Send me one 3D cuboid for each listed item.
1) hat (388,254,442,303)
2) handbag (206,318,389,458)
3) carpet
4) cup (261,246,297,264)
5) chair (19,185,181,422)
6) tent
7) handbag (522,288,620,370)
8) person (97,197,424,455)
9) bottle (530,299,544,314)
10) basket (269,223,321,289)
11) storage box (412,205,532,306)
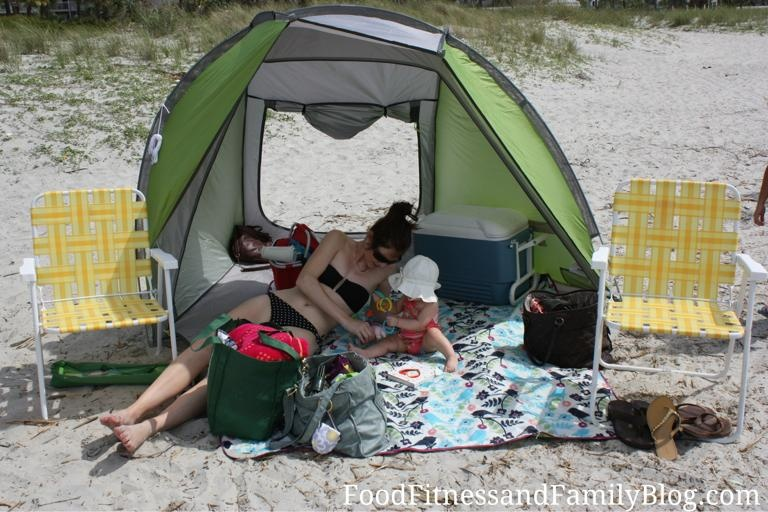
[{"bbox_3d":[0.347,0.163,5.623,0.501,0.248,0.494,-7,22,-37],"label":"hat"},{"bbox_3d":[-0.598,0.918,4.887,1.242,0.537,0.849,8,12,10],"label":"handbag"},{"bbox_3d":[0.708,1.062,5.438,1.577,0.113,1.416,-1,19,4],"label":"carpet"},{"bbox_3d":[-0.976,-0.012,6.130,0.276,0.148,0.124,1,-16,-6],"label":"cup"},{"bbox_3d":[-2.324,0.273,5.436,1.162,1.478,1.060,-7,24,-17],"label":"chair"},{"bbox_3d":[-0.512,-1.190,7.748,5.244,3.259,4.129,0,23,-4],"label":"tent"},{"bbox_3d":[1.545,0.478,5.635,0.976,0.604,0.619,-1,4,-6],"label":"handbag"},{"bbox_3d":[-0.849,0.524,5.598,3.377,1.311,1.150,-28,62,-24],"label":"person"},{"bbox_3d":[1.320,0.443,5.705,0.099,0.035,0.118,5,46,-7],"label":"bottle"},{"bbox_3d":[-0.845,0.039,6.225,0.678,0.573,0.495,-8,33,-25],"label":"basket"},{"bbox_3d":[0.939,-0.042,6.729,0.972,0.806,1.498,4,10,28],"label":"storage box"}]
